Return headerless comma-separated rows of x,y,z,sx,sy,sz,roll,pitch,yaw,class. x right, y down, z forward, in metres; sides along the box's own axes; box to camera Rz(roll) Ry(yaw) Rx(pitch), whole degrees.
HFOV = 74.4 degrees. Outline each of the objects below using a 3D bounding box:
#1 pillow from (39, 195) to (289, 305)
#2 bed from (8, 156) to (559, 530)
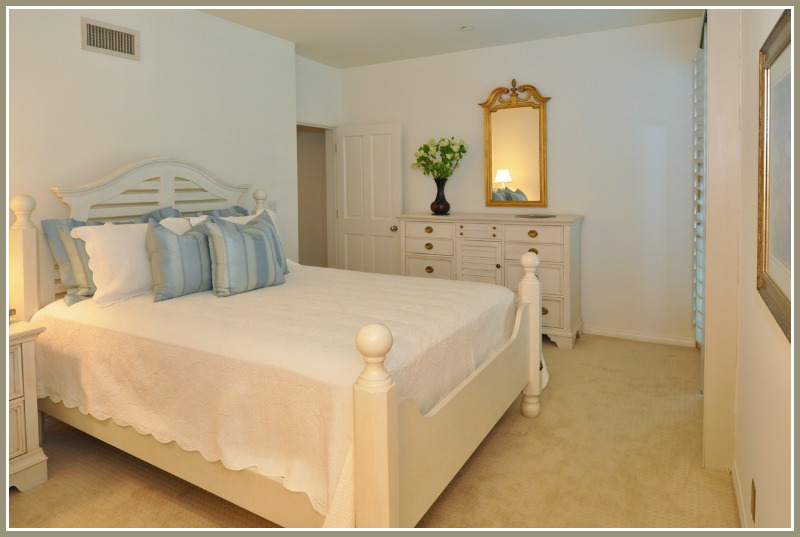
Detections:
-1.730,-0.152,3.474,1.009,0.471,0.859,3,11,24,pillow
-0.778,0.173,3.459,3.013,1.854,2.605,4,13,27,bed
